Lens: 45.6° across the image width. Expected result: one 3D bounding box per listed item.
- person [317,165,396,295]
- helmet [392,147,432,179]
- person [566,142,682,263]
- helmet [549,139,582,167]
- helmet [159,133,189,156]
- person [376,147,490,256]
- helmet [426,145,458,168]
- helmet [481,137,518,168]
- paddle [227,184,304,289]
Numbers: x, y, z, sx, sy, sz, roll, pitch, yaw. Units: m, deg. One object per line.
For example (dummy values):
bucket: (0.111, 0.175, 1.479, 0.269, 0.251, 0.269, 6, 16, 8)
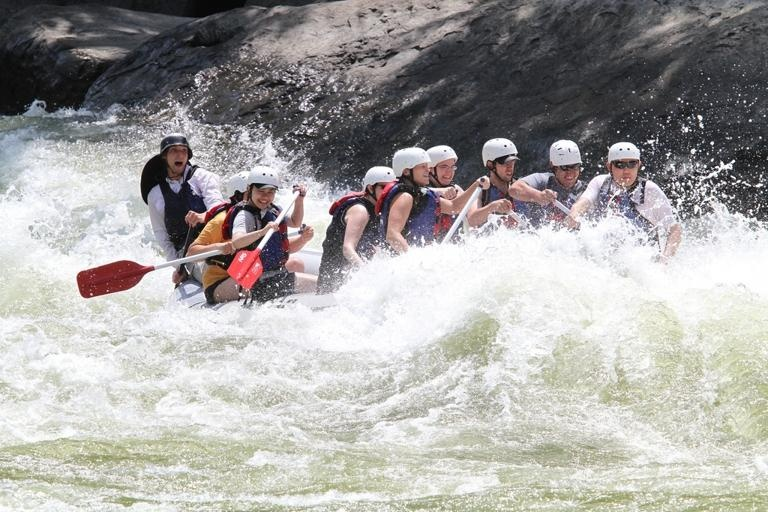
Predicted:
person: (-0.348, -0.277, 10.422, 0.674, 1.402, 0.875, 12, 19, 26)
helmet: (0.334, -1.085, 10.487, 0.399, 0.279, 0.288, 0, 4, 20)
person: (2.945, -0.693, 10.795, 1.185, 1.179, 0.463, 8, 17, 17)
helmet: (2.211, -1.229, 11.166, 0.281, 0.304, 0.374, 0, -21, -6)
helmet: (-2.559, -1.375, 11.260, 0.278, 0.218, 0.300, 4, 3, -18)
person: (0.416, -0.651, 10.484, 0.702, 1.088, 1.358, 15, 20, 34)
helmet: (0.709, -1.188, 11.030, 0.322, 0.242, 0.243, 5, 14, 34)
helmet: (1.462, -1.289, 11.325, 0.425, 0.322, 0.314, 32, 31, 34)
paddle: (-1.346, -0.194, 10.333, 0.325, 0.065, 1.559, 43, 47, -4)
